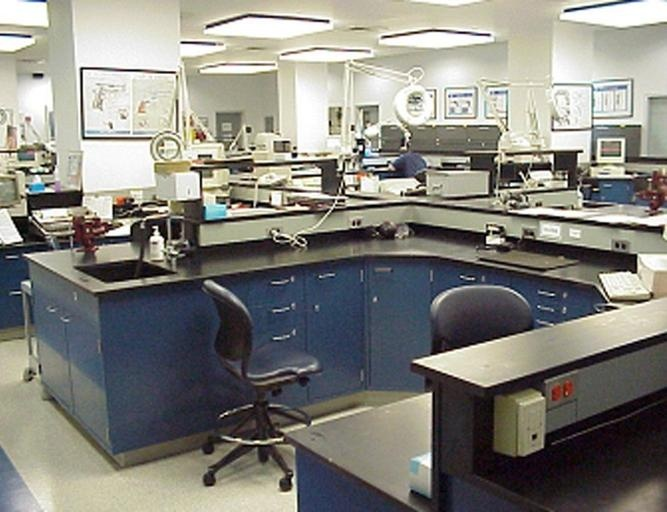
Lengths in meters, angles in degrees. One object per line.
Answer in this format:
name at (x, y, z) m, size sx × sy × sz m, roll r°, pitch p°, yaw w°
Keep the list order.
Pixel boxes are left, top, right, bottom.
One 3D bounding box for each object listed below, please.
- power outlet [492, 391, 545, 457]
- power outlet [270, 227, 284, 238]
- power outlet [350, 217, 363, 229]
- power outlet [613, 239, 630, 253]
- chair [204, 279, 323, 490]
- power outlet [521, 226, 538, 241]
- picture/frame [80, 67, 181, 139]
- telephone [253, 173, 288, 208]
power outlet at (0.472, 0.424, 1.332) m, size 0.137 × 0.181 × 0.072 m, roll -2°, pitch 12°, yaw -9°
power outlet at (-0.416, -0.168, 3.965) m, size 0.078 × 0.033 × 0.081 m, roll 3°, pitch 17°, yaw 1°
power outlet at (0.185, -0.259, 4.329) m, size 0.084 × 0.066 × 0.085 m, roll 5°, pitch 10°, yaw 37°
power outlet at (1.800, -0.061, 3.374) m, size 0.058 × 0.084 × 0.113 m, roll -6°, pitch 10°, yaw -32°
chair at (-0.438, 0.716, 3.143) m, size 0.684 × 1.109 × 0.706 m, roll -3°, pitch 10°, yaw -27°
power outlet at (1.416, -0.163, 3.875) m, size 0.092 × 0.094 × 0.075 m, roll 7°, pitch 13°, yaw 42°
picture/frame at (-2.175, -1.596, 5.662) m, size 1.013 × 0.769 × 0.036 m, roll -3°, pitch 7°, yaw -31°
telephone at (-0.568, -0.550, 4.732) m, size 0.222 × 0.242 × 0.192 m, roll 9°, pitch 7°, yaw 28°
